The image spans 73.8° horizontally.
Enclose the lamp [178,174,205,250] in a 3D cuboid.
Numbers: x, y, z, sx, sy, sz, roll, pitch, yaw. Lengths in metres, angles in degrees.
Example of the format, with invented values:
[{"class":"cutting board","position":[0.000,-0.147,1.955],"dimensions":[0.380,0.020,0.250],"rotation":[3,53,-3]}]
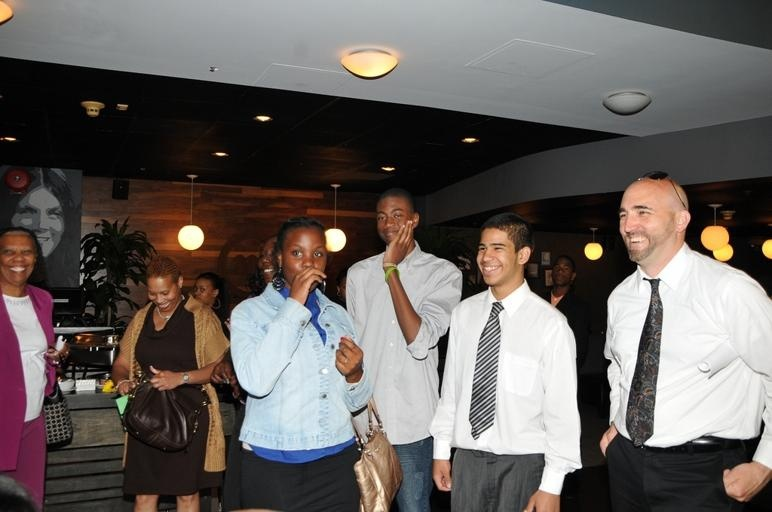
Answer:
[{"class":"lamp","position":[-3.517,-0.755,9.335],"dimensions":[0.474,1.057,0.764],"rotation":[2,-2,-19]}]

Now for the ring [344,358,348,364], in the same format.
[{"class":"ring","position":[-0.199,0.516,2.505],"dimensions":[0.022,0.021,0.005],"rotation":[-2,-9,0]}]

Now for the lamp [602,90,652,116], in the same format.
[{"class":"lamp","position":[2.578,-1.653,5.559],"dimensions":[0.501,0.178,0.335],"rotation":[3,-2,-28]}]

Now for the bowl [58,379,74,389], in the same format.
[{"class":"bowl","position":[-2.793,1.133,4.515],"dimensions":[0.090,0.052,0.088],"rotation":[1,-12,0]}]

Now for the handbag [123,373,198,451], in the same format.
[{"class":"handbag","position":[-1.637,1.153,3.721],"dimensions":[0.544,0.517,0.263],"rotation":[33,-47,-32]}]

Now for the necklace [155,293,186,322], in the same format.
[{"class":"necklace","position":[-1.631,0.400,3.890],"dimensions":[0.198,0.297,0.170],"rotation":[0,-13,2]}]

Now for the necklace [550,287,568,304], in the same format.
[{"class":"necklace","position":[2.177,0.512,6.567],"dimensions":[0.193,0.172,0.236],"rotation":[-2,-9,17]}]

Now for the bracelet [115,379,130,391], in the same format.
[{"class":"bracelet","position":[-1.924,0.958,3.781],"dimensions":[0.080,0.076,0.024],"rotation":[-3,-21,9]}]

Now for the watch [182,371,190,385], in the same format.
[{"class":"watch","position":[-1.447,0.883,3.727],"dimensions":[0.057,0.085,0.079],"rotation":[13,-19,-24]}]

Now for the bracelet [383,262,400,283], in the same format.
[{"class":"bracelet","position":[0.028,0.102,3.187],"dimensions":[0.087,0.111,0.059],"rotation":[4,1,36]}]
